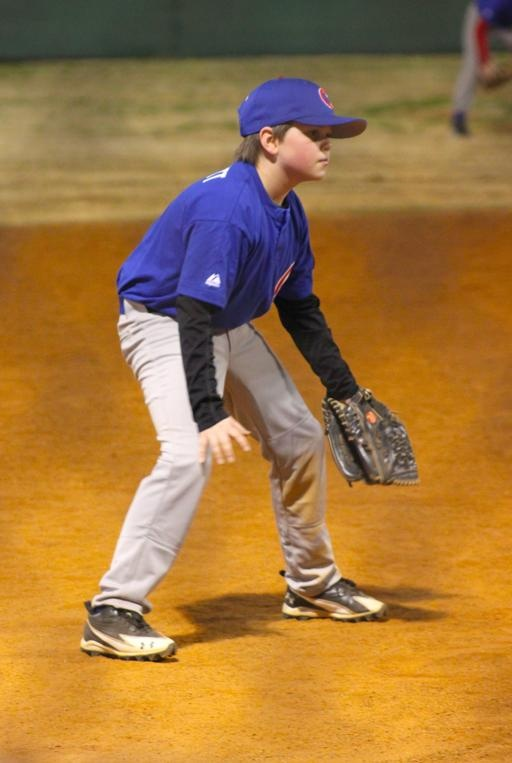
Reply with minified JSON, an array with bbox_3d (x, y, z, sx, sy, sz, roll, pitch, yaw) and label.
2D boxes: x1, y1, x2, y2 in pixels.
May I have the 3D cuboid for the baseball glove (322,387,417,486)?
[{"bbox_3d":[0.312,0.152,2.640,0.184,0.303,0.139,-42,-13,21],"label":"baseball glove"}]

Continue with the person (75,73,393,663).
[{"bbox_3d":[-0.047,0.008,2.412,0.653,1.453,0.881,9,23,28],"label":"person"}]

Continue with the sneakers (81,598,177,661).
[{"bbox_3d":[-0.313,0.593,2.347,0.275,0.103,0.099,2,5,20],"label":"sneakers"}]

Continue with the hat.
[{"bbox_3d":[0.111,-0.641,2.333,0.286,0.111,0.153,-1,9,13],"label":"hat"}]

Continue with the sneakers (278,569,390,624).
[{"bbox_3d":[0.214,0.602,2.690,0.329,0.120,0.112,-1,-4,13],"label":"sneakers"}]
